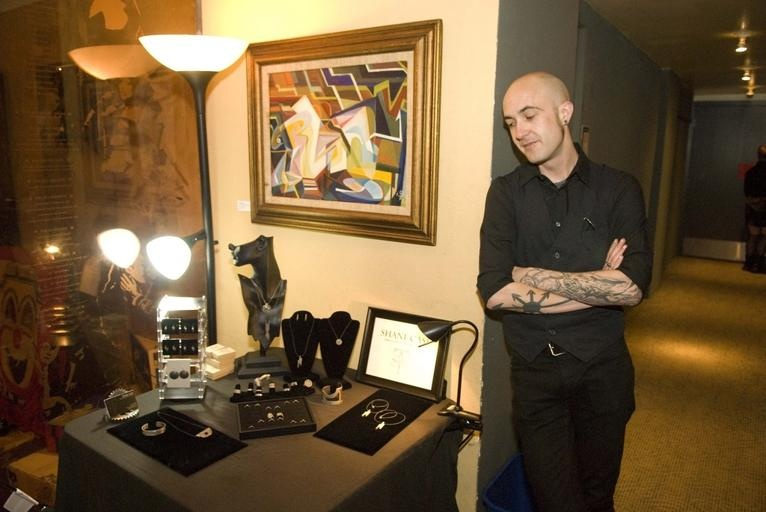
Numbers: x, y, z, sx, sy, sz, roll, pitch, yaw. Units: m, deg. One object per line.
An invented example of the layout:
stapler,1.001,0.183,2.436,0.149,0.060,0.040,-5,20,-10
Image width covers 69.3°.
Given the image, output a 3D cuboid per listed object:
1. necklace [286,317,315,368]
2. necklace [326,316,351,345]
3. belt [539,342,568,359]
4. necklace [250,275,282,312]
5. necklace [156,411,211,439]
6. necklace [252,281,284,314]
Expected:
necklace,-0.464,0.488,3.157,0.199,0.354,0.144,1,7,-2
necklace,-0.245,0.417,3.080,0.144,0.173,0.077,1,5,5
belt,0.834,0.470,2.737,0.082,0.085,0.020,-13,14,24
necklace,-0.620,0.219,3.049,0.128,0.171,0.071,1,-4,-2
necklace,-0.986,0.833,2.748,0.393,0.018,0.110,4,18,41
necklace,-0.626,0.234,3.057,0.135,0.181,0.069,1,8,-2
